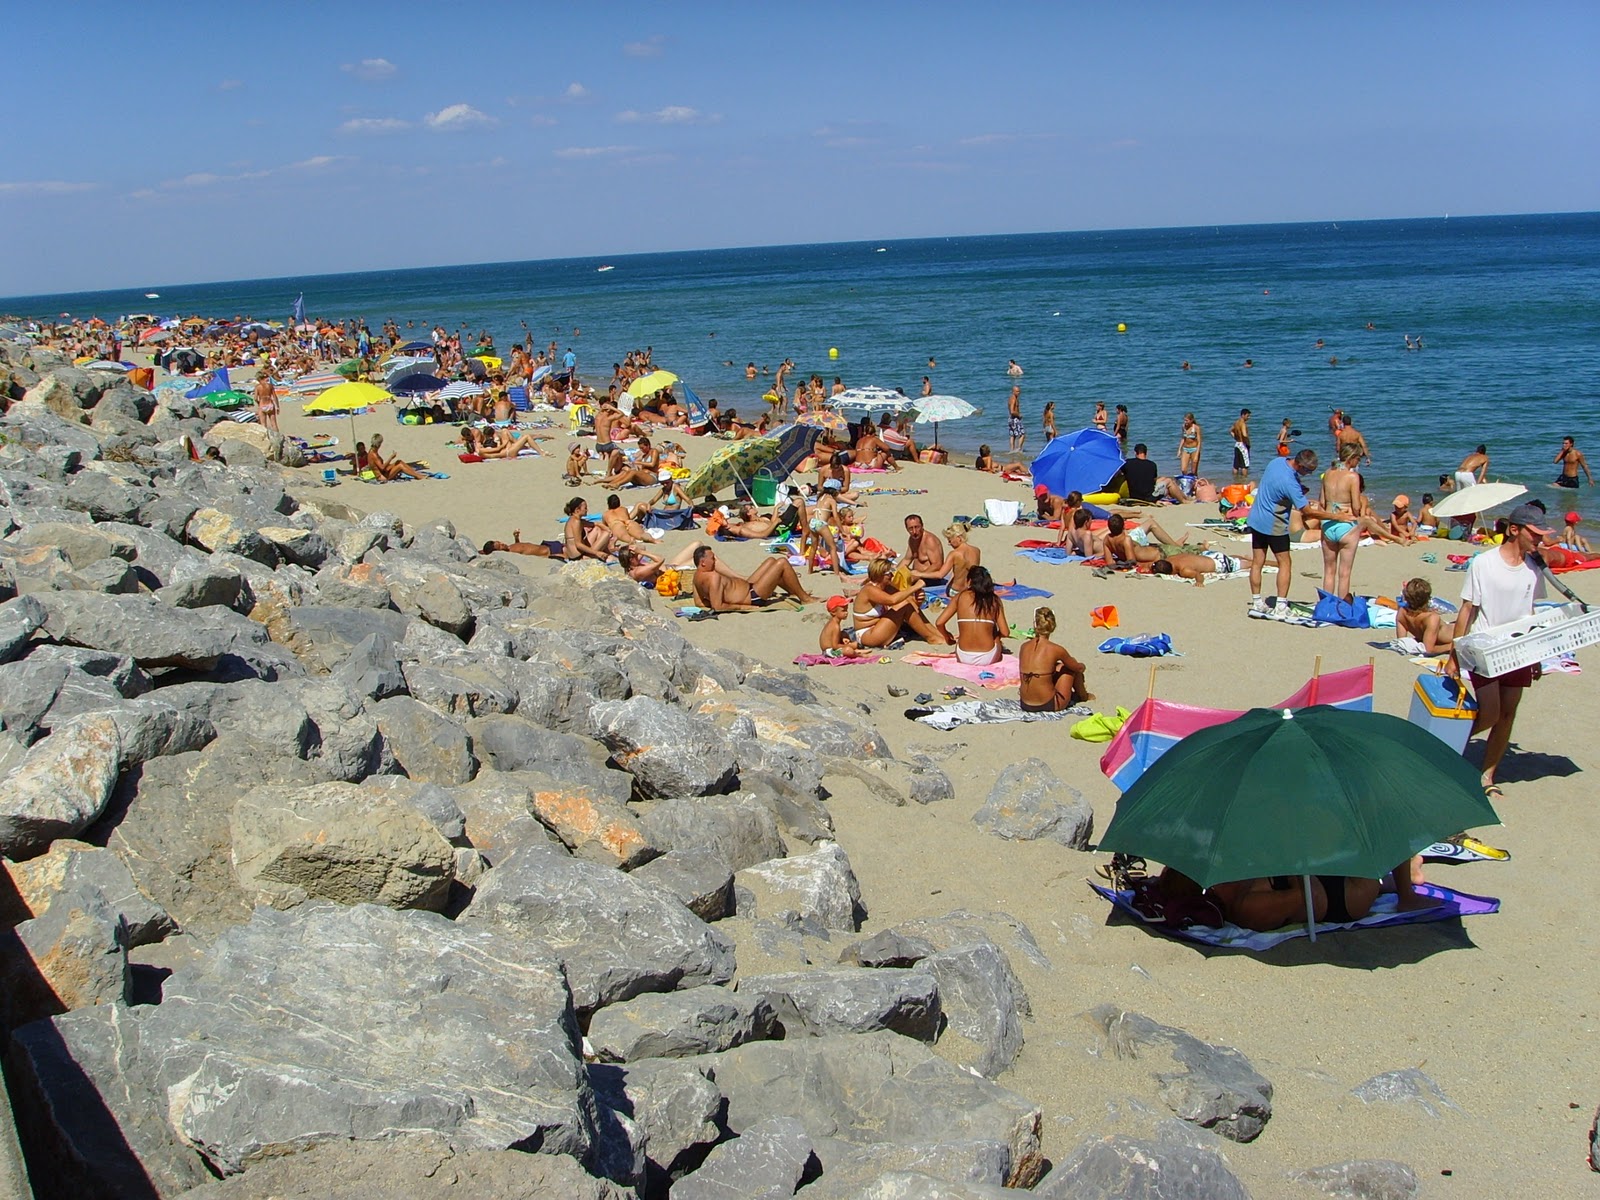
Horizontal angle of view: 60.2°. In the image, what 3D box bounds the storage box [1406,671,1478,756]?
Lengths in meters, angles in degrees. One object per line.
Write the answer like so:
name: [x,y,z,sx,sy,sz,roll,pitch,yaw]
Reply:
storage box: [4.441,0.772,9.487,0.404,0.573,0.407,5,34,18]
